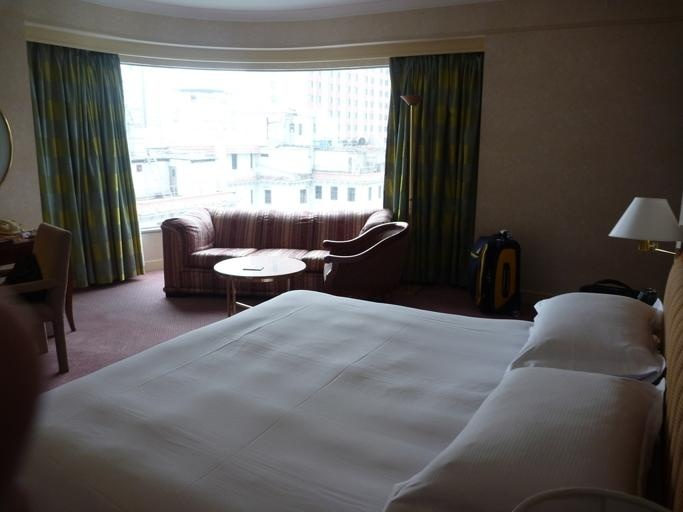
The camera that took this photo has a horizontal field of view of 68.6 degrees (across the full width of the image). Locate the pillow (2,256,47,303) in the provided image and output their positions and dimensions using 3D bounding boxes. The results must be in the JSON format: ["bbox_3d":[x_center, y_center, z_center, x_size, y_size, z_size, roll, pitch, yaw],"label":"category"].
[{"bbox_3d":[-2.026,0.147,3.292,0.260,0.321,0.090,-2,-21,26],"label":"pillow"}]

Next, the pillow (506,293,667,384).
[{"bbox_3d":[1.051,0.313,2.086,0.385,0.138,0.447,-6,18,33],"label":"pillow"}]

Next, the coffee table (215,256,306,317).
[{"bbox_3d":[-0.685,0.398,4.138,0.567,0.503,0.600,5,15,20],"label":"coffee table"}]

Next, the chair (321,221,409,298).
[{"bbox_3d":[0.210,0.032,4.762,0.736,0.870,0.634,2,15,1],"label":"chair"}]
